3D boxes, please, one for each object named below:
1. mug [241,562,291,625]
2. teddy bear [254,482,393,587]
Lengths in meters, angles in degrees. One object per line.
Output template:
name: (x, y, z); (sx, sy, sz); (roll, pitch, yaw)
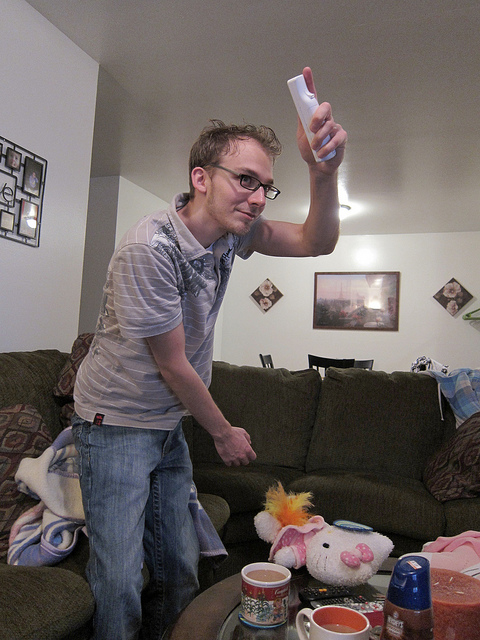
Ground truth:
mug: (0.040, 0.422, 0.749); (0.078, 0.063, 0.080); (7, -9, -27)
teddy bear: (0.170, 0.438, 1.092); (0.269, 0.135, 0.198); (12, 6, 28)
